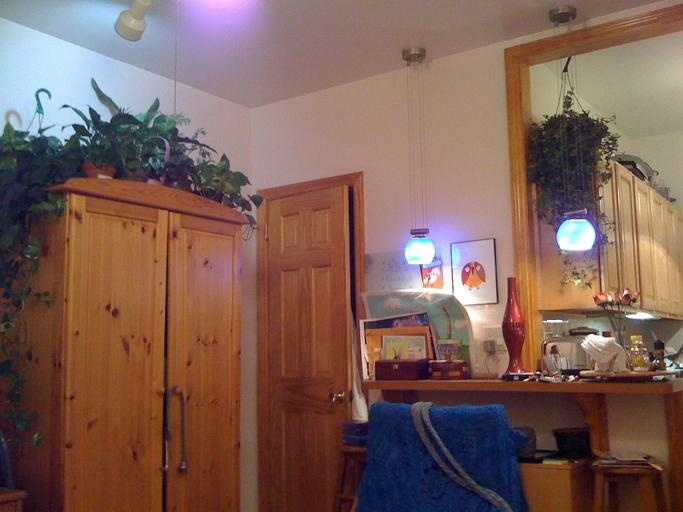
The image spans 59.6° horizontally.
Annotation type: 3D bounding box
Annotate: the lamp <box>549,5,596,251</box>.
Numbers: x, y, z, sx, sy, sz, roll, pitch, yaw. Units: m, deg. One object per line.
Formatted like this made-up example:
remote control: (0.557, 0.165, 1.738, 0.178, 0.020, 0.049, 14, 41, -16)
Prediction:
lamp: (1.570, -0.607, 4.093, 0.306, 1.160, 0.381, -5, -8, 26)

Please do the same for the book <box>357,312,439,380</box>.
book: (0.419, 0.633, 4.199, 0.401, 0.368, 0.139, -9, -17, 28)

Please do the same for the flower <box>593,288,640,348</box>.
flower: (1.795, 0.454, 3.890, 0.271, 0.472, 0.336, -2, -5, 5)

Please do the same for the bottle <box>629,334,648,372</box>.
bottle: (1.712, 0.555, 3.448, 0.106, 0.191, 0.198, -6, -9, 27)

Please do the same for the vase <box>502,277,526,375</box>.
vase: (1.129, 0.443, 3.940, 0.130, 0.622, 0.138, -7, -9, 34)

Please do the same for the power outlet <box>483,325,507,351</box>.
power outlet: (1.089, 0.566, 4.230, 0.195, 0.214, 0.135, 1, -1, -19)

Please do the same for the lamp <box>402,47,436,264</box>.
lamp: (0.575, -0.745, 4.542, 0.220, 1.639, 0.311, -3, -7, 9)

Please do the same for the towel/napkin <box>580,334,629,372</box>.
towel/napkin: (1.527, 0.545, 3.423, 0.174, 0.197, 0.240, -14, -1, -20)

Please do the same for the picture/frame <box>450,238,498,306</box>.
picture/frame: (0.979, 0.120, 4.337, 0.397, 0.635, 0.013, -6, -10, 35)
